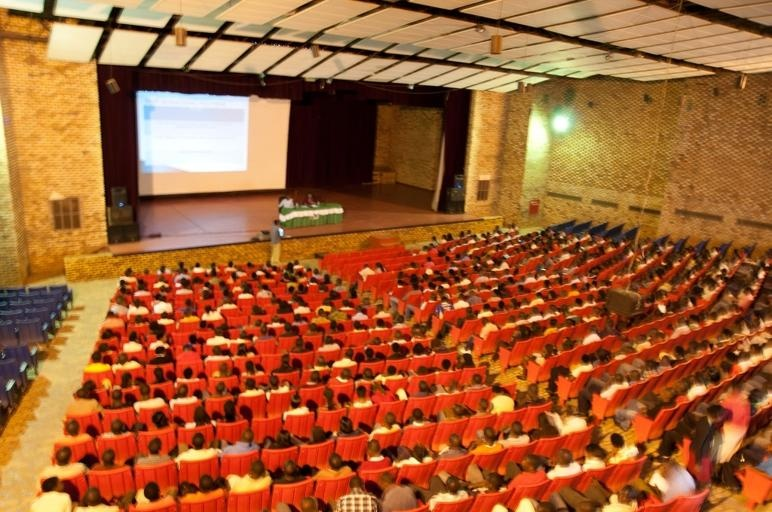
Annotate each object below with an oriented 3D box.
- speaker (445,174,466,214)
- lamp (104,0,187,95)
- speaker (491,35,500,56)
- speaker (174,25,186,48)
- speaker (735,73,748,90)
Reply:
[{"bbox_3d":[3.307,-2.879,24.652,0.975,1.787,0.318,-3,8,-34],"label":"speaker"},{"bbox_3d":[-7.249,-5.959,15.991,2.737,0.600,2.713,-16,-16,-45],"label":"lamp"},{"bbox_3d":[2.737,-5.264,13.063,0.236,0.529,0.601,1,6,6],"label":"speaker"},{"bbox_3d":[-4.833,-5.184,12.444,0.218,0.406,0.170,0,6,-6],"label":"speaker"},{"bbox_3d":[12.973,-6.387,19.159,0.330,0.678,1.643,5,7,34],"label":"speaker"}]
